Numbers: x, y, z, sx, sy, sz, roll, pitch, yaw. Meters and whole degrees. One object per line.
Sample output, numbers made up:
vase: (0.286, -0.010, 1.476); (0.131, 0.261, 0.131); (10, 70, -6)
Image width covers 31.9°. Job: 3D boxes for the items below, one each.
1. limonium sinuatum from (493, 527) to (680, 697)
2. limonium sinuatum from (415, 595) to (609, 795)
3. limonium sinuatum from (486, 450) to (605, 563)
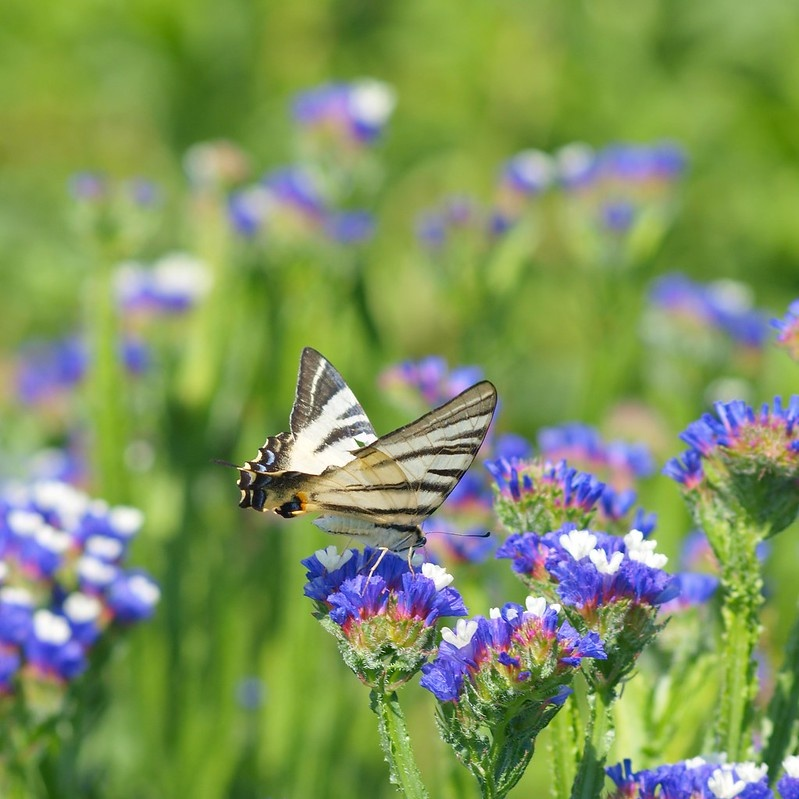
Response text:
limonium sinuatum: (0.223, 0.215, 1.633); (0.162, 0.182, 0.168); (15, 67, 5)
limonium sinuatum: (0.117, 0.302, 1.537); (0.147, 0.095, 0.190); (40, 72, 18)
limonium sinuatum: (0.179, 0.115, 1.694); (0.109, 0.097, 0.131); (8, 93, 3)
